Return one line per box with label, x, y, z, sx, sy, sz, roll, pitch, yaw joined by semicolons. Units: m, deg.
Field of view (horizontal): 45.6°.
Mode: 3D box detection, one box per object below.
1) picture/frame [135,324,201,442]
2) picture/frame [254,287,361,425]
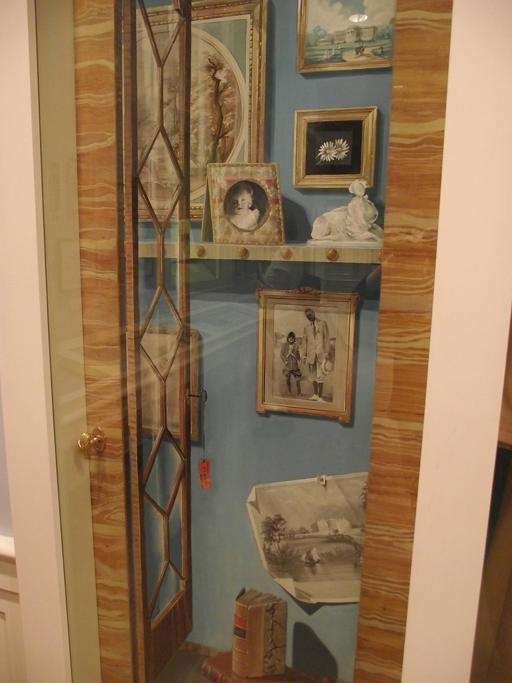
picture/frame;-0.198;0.095;1.286;0.125;0.248;0.015;-4;-2;28
picture/frame;0.106;0.024;1.143;0.232;0.297;0.025;2;5;11
